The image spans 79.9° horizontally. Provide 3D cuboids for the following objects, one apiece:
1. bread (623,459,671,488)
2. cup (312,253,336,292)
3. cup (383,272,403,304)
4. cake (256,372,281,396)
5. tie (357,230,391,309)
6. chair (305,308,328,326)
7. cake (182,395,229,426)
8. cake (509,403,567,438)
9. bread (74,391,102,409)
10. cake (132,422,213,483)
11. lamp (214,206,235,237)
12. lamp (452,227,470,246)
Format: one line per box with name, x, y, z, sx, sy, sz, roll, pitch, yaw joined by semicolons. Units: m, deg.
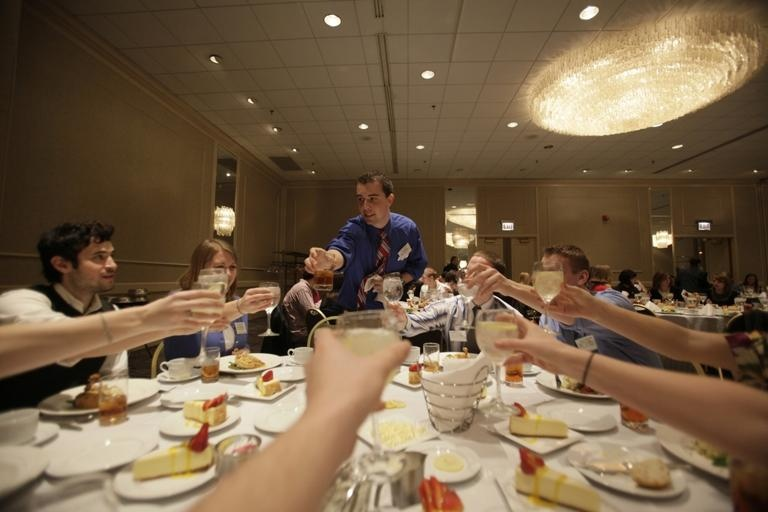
bread;1.199;0.977;2.054;0.136;0.041;0.118;6;33;31
cup;-0.447;0.164;3.456;0.177;0.195;0.177;2;3;0
cup;0.066;0.222;3.179;0.136;0.177;0.266;2;1;0
cake;-0.644;0.721;2.558;0.123;0.125;0.128;1;-2;-29
tie;-0.058;0.094;3.867;0.182;0.788;0.094;19;-14;-20
chair;-0.559;0.501;3.816;0.160;0.162;0.153;22;10;-5
cake;-0.914;0.779;2.362;0.181;0.109;0.135;5;-5;9
cake;0.752;0.795;2.255;0.178;0.065;0.149;2;3;25
bread;-1.571;0.769;2.436;0.096;0.035;0.099;8;13;-17
cake;-0.954;0.933;2.190;0.399;0.253;0.156;4;-9;-22
lamp;-2.829;-0.617;8.160;0.403;0.562;0.410;1;1;8
lamp;1.856;-0.446;10.913;0.369;0.354;0.370;-2;1;-20
